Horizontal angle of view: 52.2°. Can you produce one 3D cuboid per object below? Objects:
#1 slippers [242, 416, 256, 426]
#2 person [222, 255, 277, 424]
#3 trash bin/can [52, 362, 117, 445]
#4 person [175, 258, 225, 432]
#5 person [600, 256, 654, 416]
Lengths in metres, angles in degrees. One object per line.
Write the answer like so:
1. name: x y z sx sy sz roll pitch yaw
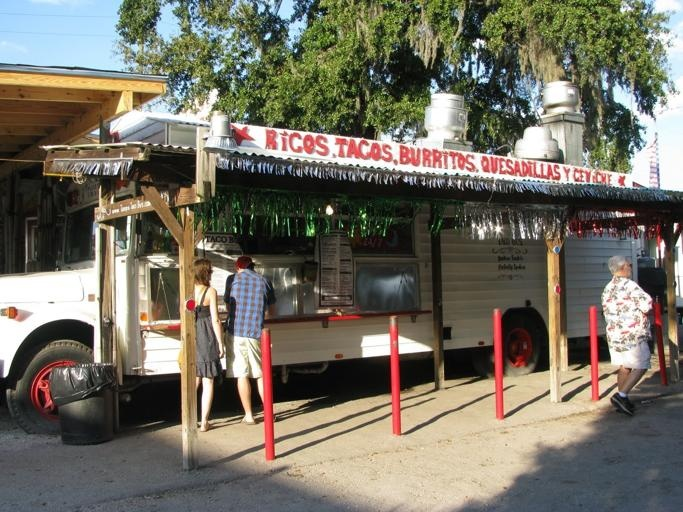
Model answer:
1. slippers: -1.265 2.208 9.400 0.099 0.126 0.264 3 -8 -34
2. person: -1.247 1.140 9.319 0.611 2.251 0.579 -1 5 -2
3. trash bin/can: -3.025 1.794 8.755 0.859 1.180 0.852 -1 -11 -12
4. person: -1.694 1.196 8.923 0.346 2.332 1.570 -2 6 -10
5. person: 3.925 1.078 9.647 0.639 2.072 0.685 4 7 38
